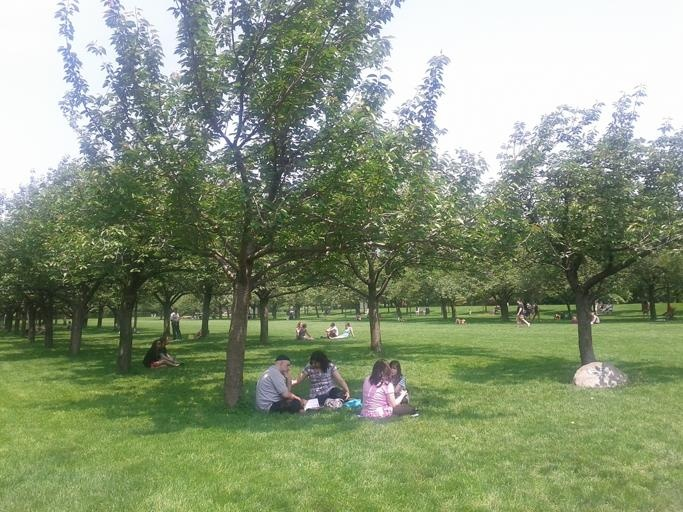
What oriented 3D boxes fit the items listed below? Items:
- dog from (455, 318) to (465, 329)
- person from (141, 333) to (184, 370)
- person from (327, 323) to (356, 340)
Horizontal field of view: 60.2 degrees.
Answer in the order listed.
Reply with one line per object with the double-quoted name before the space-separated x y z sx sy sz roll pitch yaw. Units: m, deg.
"dog" 12.224 6.841 60.277 0.803 0.564 1.056 2 2 -6
"person" -8.021 4.245 26.222 1.487 1.426 1.156 -2 0 -20
"person" -0.001 5.609 43.909 1.862 0.936 1.202 4 -11 -21
